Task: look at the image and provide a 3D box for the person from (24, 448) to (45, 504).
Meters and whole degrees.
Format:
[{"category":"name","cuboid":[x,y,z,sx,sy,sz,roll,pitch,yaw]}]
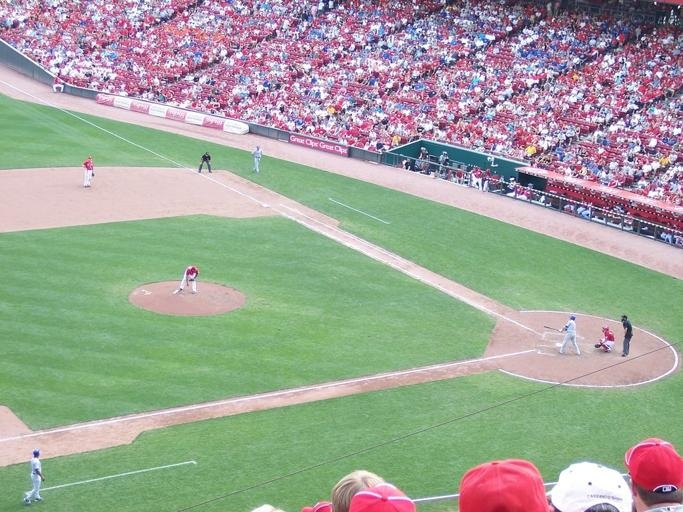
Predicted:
[{"category":"person","cuboid":[-14.729,10.413,60.153,0.850,2.709,1.081,6,13,-11]}]
